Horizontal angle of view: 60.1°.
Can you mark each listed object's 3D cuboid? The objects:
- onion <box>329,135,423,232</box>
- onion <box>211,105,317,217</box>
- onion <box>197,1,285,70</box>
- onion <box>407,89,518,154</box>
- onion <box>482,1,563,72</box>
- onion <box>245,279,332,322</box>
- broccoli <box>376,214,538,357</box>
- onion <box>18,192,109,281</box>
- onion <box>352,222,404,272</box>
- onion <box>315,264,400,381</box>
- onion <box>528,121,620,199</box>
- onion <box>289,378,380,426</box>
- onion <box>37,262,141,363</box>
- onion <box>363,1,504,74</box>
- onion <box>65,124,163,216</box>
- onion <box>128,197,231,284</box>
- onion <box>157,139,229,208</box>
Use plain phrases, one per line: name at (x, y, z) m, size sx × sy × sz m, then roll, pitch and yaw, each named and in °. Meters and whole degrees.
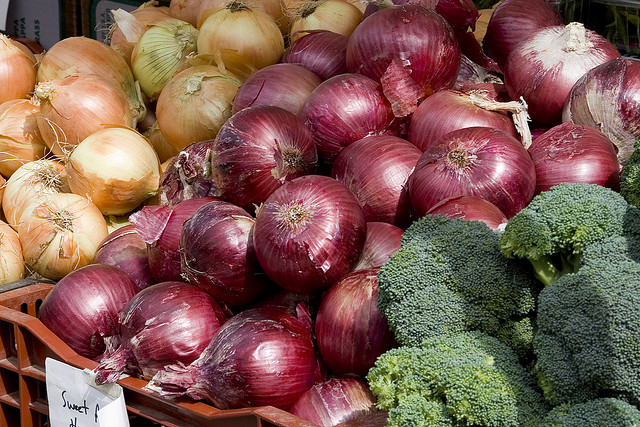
onion at (0.174, -0.153, 2.141) m, size 0.336 × 0.347 × 0.338 m, roll -3°, pitch 29°, yaw -8°
onion at (-0.223, -0.207, 2.173) m, size 0.372 × 0.378 × 0.374 m, roll -20°, pitch 50°, yaw -24°
onion at (-0.408, -0.915, 2.825) m, size 0.380 × 0.253 × 0.338 m, roll 31°, pitch 47°, yaw 33°
onion at (0.524, -0.355, 2.143) m, size 0.293 × 0.286 × 0.294 m, roll 44°, pitch 9°, yaw -6°
onion at (0.880, -0.837, 2.474) m, size 0.373 × 0.339 × 0.324 m, roll 6°, pitch 45°, yaw 17°
onion at (-0.105, 0.337, 1.907) m, size 0.185 × 0.171 × 0.111 m, roll 8°, pitch 54°, yaw -22°
broccoli at (0.416, 0.225, 1.666) m, size 0.396 × 0.185 × 0.357 m, roll 31°, pitch 88°, yaw 30°
onion at (-1.171, 0.137, 2.695) m, size 0.395 × 0.396 × 0.416 m, roll -1°, pitch 79°, yaw 8°
onion at (0.209, 0.125, 1.954) m, size 0.104 × 0.163 × 0.168 m, roll 33°, pitch 63°, yaw -21°
onion at (0.132, 0.391, 1.887) m, size 0.293 × 0.350 × 0.306 m, roll 6°, pitch -3°, yaw -18°
onion at (0.871, -0.163, 2.055) m, size 0.273 × 0.280 × 0.281 m, roll -2°, pitch 51°, yaw -12°
onion at (0.051, 0.596, 1.748) m, size 0.177 × 0.145 × 0.105 m, roll -8°, pitch 64°, yaw -15°
onion at (-0.847, 0.376, 2.127) m, size 0.325 × 0.334 × 0.328 m, roll 31°, pitch 42°, yaw 14°
onion at (0.529, -0.773, 2.600) m, size 0.390 × 0.280 × 0.470 m, roll 28°, pitch 6°, yaw -38°
onion at (-1.099, -0.297, 2.733) m, size 0.493 × 0.429 × 0.411 m, roll -9°, pitch 26°, yaw -22°
onion at (-0.523, 0.098, 2.224) m, size 0.429 × 0.336 × 0.318 m, roll 11°, pitch 62°, yaw -4°
onion at (-0.558, -0.132, 2.382) m, size 0.276 × 0.327 × 0.187 m, roll -8°, pitch 3°, yaw 0°
